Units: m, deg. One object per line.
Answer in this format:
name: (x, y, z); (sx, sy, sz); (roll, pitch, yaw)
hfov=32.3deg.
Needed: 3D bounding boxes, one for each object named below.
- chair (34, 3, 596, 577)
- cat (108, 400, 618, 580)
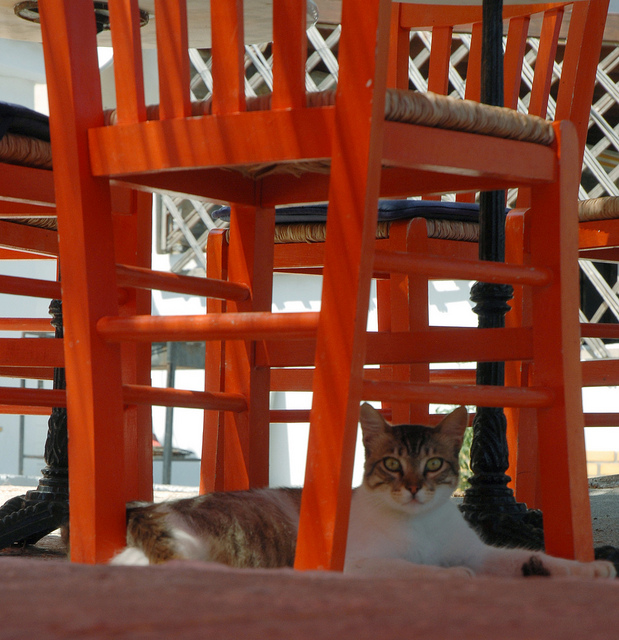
chair: (-0.103, -0.034, 1.525); (0.592, 0.719, 0.838); (-3, 0, -39)
cat: (0.094, 0.289, 1.498); (0.488, 0.192, 0.329); (-13, -22, 34)
